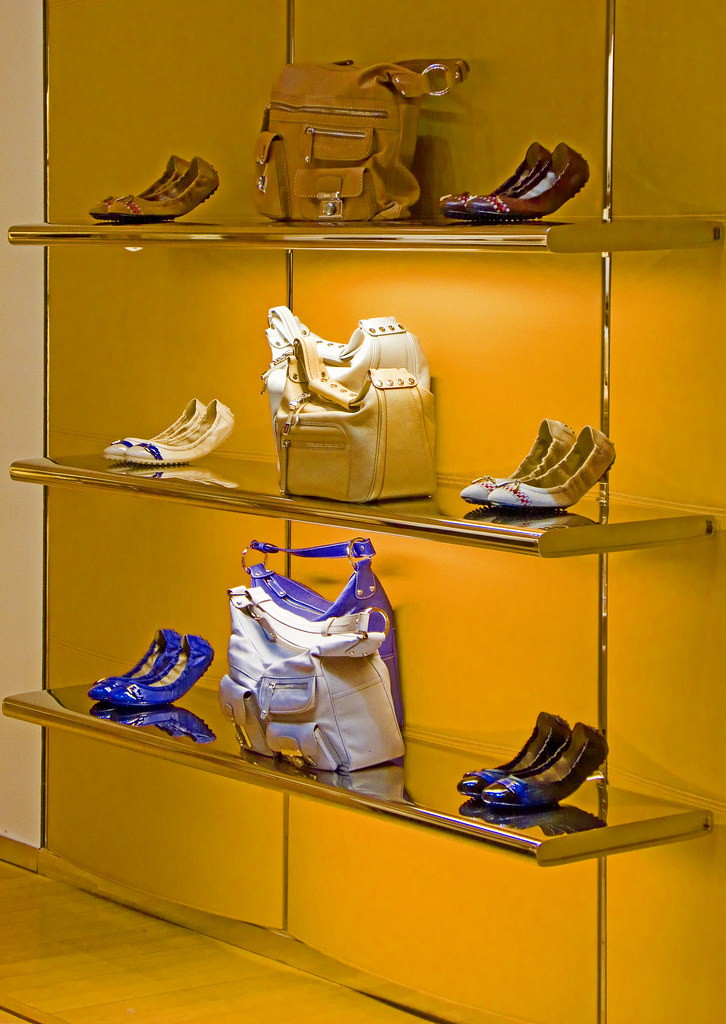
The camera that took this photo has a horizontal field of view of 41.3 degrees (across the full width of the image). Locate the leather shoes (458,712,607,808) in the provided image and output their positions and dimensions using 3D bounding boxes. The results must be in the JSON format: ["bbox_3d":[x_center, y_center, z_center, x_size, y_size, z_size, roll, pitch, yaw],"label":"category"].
[{"bbox_3d":[0.231,0.334,1.280,0.178,0.090,0.113,-11,7,-31],"label":"leather shoes"}]

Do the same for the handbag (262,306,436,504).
[{"bbox_3d":[-0.009,-0.162,1.517,0.238,0.305,0.257,-1,-1,16],"label":"handbag"}]

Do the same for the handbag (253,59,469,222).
[{"bbox_3d":[-0.017,-0.610,1.656,0.338,0.260,0.272,14,22,31],"label":"handbag"}]

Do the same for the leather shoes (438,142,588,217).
[{"bbox_3d":[0.204,-0.413,1.222,0.194,0.080,0.115,-19,32,-19],"label":"leather shoes"}]

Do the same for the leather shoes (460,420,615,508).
[{"bbox_3d":[0.225,-0.056,1.229,0.171,0.091,0.123,-9,10,-20],"label":"leather shoes"}]

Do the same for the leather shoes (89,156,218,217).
[{"bbox_3d":[-0.388,-0.608,1.859,0.232,0.084,0.163,-22,30,-25],"label":"leather shoes"}]

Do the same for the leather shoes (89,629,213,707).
[{"bbox_3d":[-0.417,0.330,1.973,0.235,0.096,0.142,-19,19,-35],"label":"leather shoes"}]

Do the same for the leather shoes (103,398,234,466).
[{"bbox_3d":[-0.365,-0.143,1.824,0.217,0.083,0.132,-13,17,-34],"label":"leather shoes"}]

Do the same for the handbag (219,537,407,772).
[{"bbox_3d":[-0.045,0.228,1.660,0.332,0.358,0.410,1,-1,-34],"label":"handbag"}]
